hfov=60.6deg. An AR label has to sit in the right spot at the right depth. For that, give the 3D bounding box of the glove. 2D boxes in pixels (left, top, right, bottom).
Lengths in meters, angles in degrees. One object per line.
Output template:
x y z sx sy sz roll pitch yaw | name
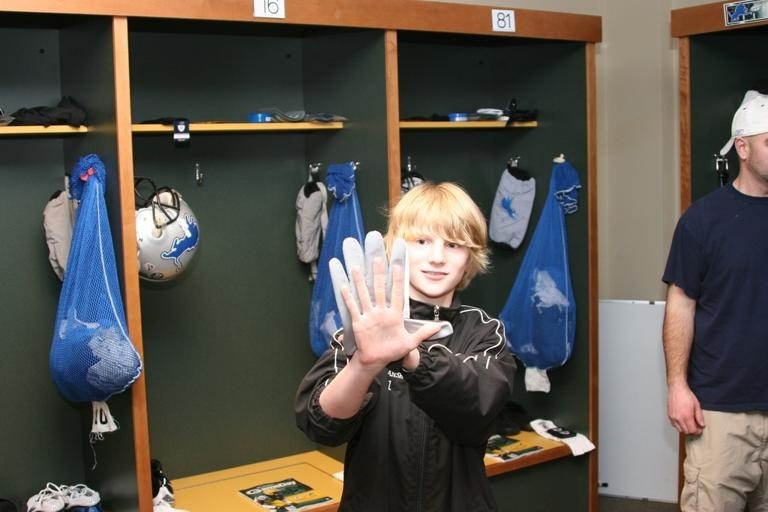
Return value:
0.037 0.133 2.047 0.407 0.492 0.072 -1 6 -13 | glove

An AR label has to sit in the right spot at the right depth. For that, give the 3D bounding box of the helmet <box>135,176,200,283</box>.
-1.092 -0.139 3.257 0.378 0.300 0.293 39 44 6 | helmet
